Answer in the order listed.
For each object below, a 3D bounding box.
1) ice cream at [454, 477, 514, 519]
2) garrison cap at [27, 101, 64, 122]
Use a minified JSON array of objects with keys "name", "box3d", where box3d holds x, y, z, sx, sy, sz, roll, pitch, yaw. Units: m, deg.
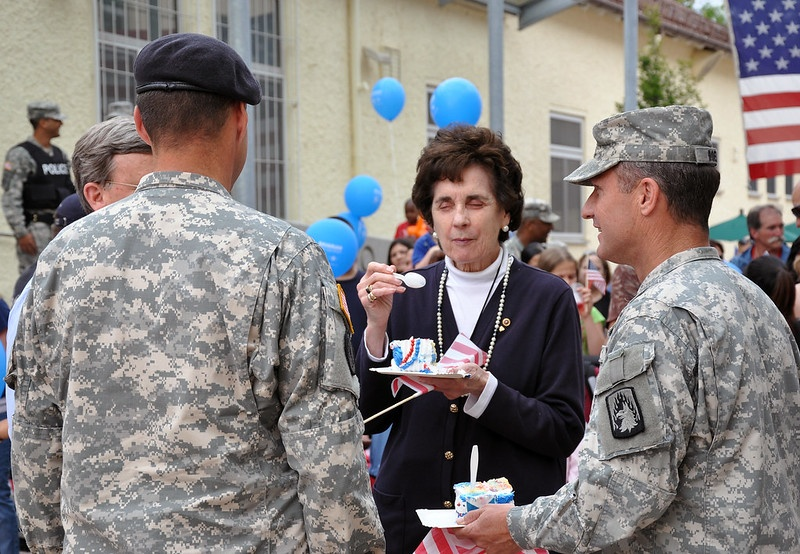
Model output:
[{"name":"ice cream","box3d":[0.431,1.138,5.453,0.255,0.203,0.216,1,13,2]},{"name":"garrison cap","box3d":[-3.008,-1.391,9.070,0.221,0.111,0.161,-3,6,-21]}]
